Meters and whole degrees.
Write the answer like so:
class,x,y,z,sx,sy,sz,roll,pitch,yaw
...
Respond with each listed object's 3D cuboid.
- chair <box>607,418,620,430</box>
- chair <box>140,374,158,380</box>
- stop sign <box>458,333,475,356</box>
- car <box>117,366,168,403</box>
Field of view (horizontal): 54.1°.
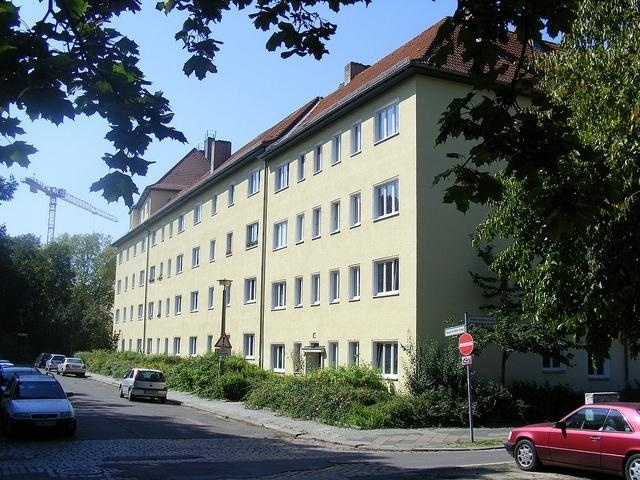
class,x,y,z,sx,sy,sz,roll,pitch,yaw
chair,5.684,3.558,12.093,0.100,0.189,0.191,14,-7,-20
chair,-8.175,6.591,30.004,0.841,0.360,0.268,5,-18,-4
stop sign,3.962,2.799,16.812,0.316,0.645,0.671,9,-19,-18
car,-8.653,7.042,30.622,1.339,1.317,2.482,6,-10,-23
